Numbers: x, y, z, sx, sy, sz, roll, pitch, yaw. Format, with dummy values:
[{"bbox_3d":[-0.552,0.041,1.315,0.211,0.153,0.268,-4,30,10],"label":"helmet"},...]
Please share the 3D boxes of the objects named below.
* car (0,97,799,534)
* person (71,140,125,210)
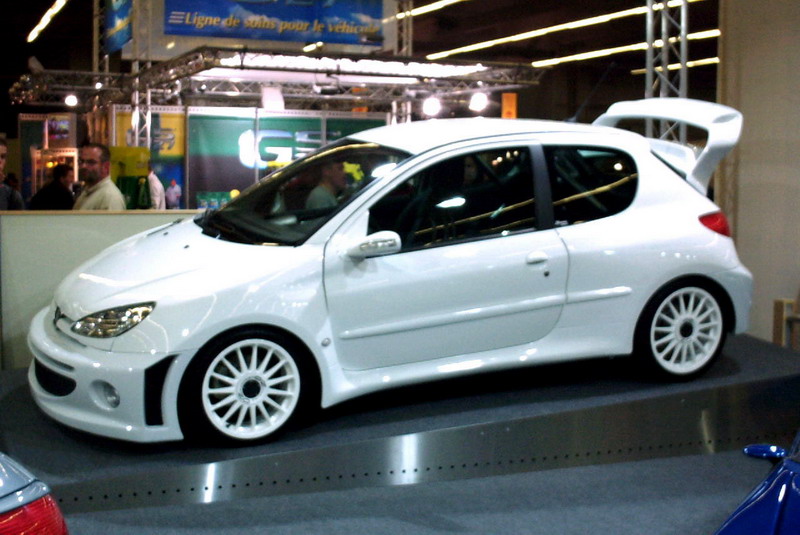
[{"bbox_3d":[-0.050,0.264,5.888,4.255,1.886,2.479,0,6,-15],"label":"car"},{"bbox_3d":[-2.928,-0.837,7.557,0.690,0.725,0.371,5,0,39],"label":"person"}]
